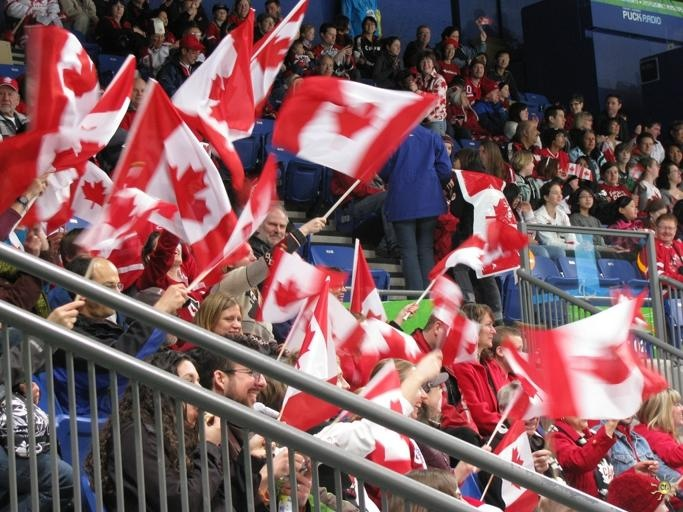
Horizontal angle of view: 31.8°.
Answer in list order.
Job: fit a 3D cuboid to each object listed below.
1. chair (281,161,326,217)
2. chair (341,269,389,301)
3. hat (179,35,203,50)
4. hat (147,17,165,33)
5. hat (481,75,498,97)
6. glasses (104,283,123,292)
[{"bbox_3d":[-0.390,-0.726,12.576,0.481,0.621,0.542,4,8,-5],"label":"chair"},{"bbox_3d":[0.277,0.235,11.361,0.336,0.291,0.304,-2,23,4],"label":"chair"},{"bbox_3d":[-1.692,-2.462,13.843,0.199,0.137,0.287,24,12,41],"label":"hat"},{"bbox_3d":[-2.189,-2.757,14.234,0.201,0.172,0.151,10,29,29],"label":"hat"},{"bbox_3d":[2.051,-2.400,16.841,0.314,0.222,0.282,6,24,-1],"label":"hat"},{"bbox_3d":[-1.452,0.199,7.538,0.140,0.055,0.131,-1,-1,25],"label":"glasses"}]
